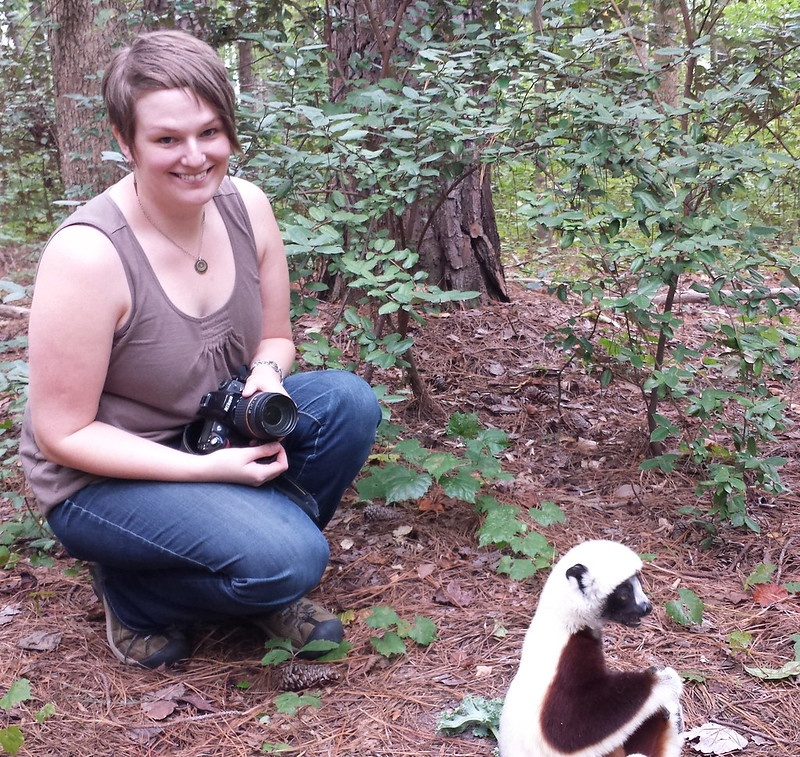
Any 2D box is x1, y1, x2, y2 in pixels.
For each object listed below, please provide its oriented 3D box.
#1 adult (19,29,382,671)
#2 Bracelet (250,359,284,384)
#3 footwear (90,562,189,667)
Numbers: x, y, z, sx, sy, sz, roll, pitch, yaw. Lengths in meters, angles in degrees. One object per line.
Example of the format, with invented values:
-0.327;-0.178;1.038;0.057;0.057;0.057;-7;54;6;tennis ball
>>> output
-0.698;-0.068;2.750;1.130;2.215;0.800;-1;14;-25;adult
-0.511;-0.028;2.988;0.102;0.025;0.095;33;-6;7;Bracelet
-1.068;0.887;2.970;0.618;0.190;0.192;11;12;28;footwear
